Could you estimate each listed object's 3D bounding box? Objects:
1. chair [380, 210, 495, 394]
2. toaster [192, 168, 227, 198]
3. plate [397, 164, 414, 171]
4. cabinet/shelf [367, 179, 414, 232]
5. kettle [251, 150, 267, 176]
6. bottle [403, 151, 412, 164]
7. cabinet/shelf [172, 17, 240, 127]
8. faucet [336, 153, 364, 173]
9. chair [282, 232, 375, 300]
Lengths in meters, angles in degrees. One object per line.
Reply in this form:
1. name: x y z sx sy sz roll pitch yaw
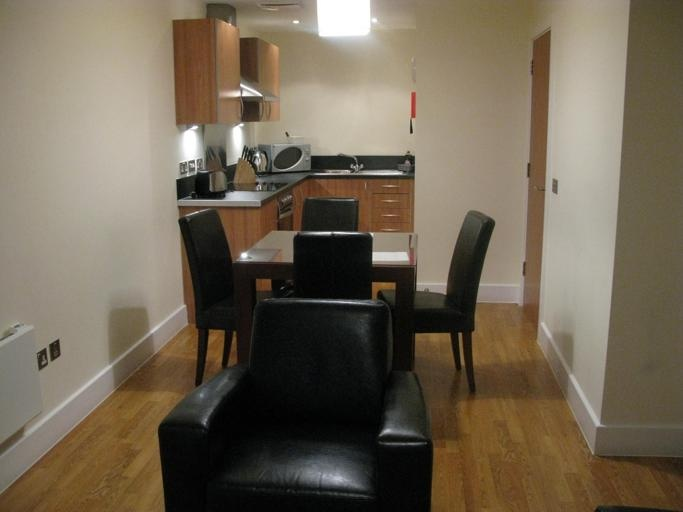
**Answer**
1. chair: 0.643 0.167 4.077 0.939 1.814 0.895 1 8 2
2. toaster: -1.114 -0.616 4.569 0.192 0.258 0.307 -2 11 -13
3. plate: 0.805 -1.127 6.760 0.186 0.091 0.119 1 15 7
4. cabinet/shelf: 0.621 -0.701 6.901 0.555 1.244 0.585 -1 8 4
5. kettle: -0.975 -1.125 6.430 0.147 0.296 0.272 1 18 1
6. bottle: 0.856 -1.265 6.860 0.127 0.177 0.346 1 15 6
7. cabinet/shelf: -1.115 -1.566 4.531 0.345 0.808 0.550 4 17 10
8. faucet: 0.111 -1.243 7.014 0.319 0.407 0.218 1 15 6
9. chair: -0.049 0.045 2.899 0.279 0.466 0.430 2 13 9
